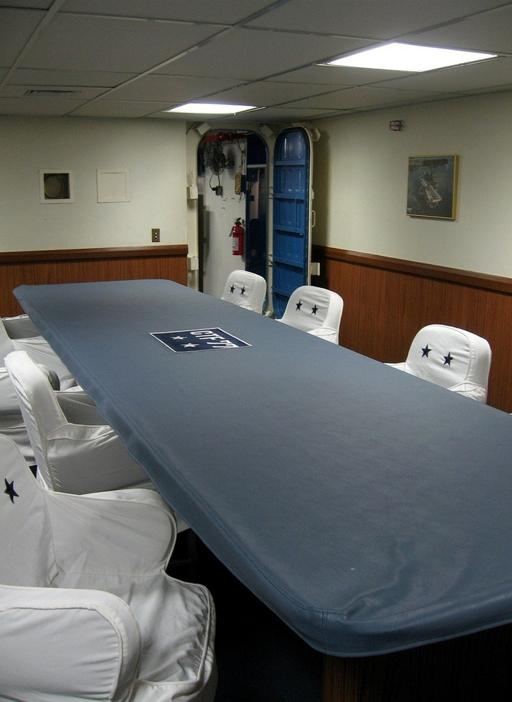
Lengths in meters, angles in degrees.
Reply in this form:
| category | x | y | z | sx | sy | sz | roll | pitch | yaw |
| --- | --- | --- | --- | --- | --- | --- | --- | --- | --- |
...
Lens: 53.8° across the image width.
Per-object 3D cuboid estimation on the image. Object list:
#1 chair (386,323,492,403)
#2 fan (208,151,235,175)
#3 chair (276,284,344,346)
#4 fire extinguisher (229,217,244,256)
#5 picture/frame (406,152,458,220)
| category | x | y | z | sx | sy | sz | roll | pitch | yaw |
| --- | --- | --- | --- | --- | --- | --- | --- | --- | --- |
| chair | 0.886 | 0.037 | 2.364 | 0.395 | 0.395 | 0.407 | 0 | 7 | -39 |
| fan | -0.536 | -2.780 | 7.436 | 0.223 | 0.316 | 0.491 | -8 | 13 | -36 |
| chair | 0.439 | -0.345 | 3.612 | 0.378 | 0.516 | 0.450 | 20 | 22 | 33 |
| fire extinguisher | -0.251 | -1.625 | 7.247 | 0.186 | 0.545 | 0.278 | 6 | 12 | 27 |
| picture/frame | 1.514 | -1.398 | 4.284 | 0.053 | 0.561 | 0.537 | -6 | 20 | -24 |
